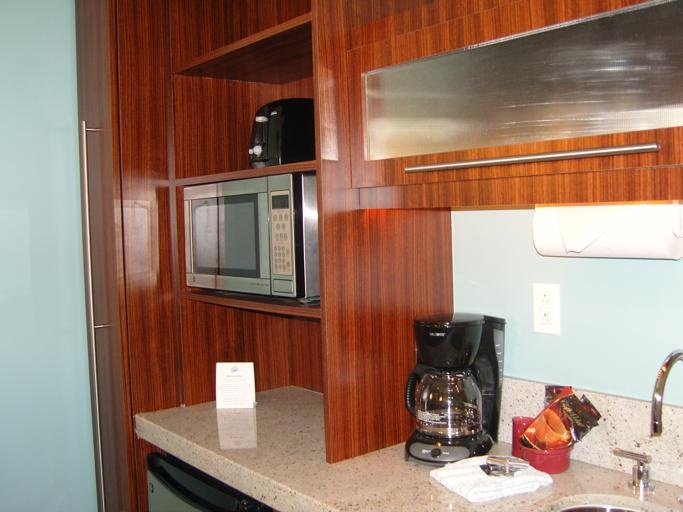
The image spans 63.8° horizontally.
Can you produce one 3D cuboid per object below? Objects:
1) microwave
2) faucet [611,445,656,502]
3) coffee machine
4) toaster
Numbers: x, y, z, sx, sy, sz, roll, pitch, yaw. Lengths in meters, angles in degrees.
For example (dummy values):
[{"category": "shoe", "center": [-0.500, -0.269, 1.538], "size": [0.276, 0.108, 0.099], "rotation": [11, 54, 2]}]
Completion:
[{"category": "microwave", "center": [-0.279, -0.071, 2.042], "size": [0.622, 0.408, 0.357], "rotation": [0, 3, 37]}, {"category": "faucet", "center": [0.757, 0.562, 1.426], "size": [0.083, 0.097, 0.091], "rotation": [1, 4, 38]}, {"category": "coffee machine", "center": [0.330, 0.393, 1.701], "size": [0.237, 0.485, 0.231], "rotation": [-2, 7, -32]}, {"category": "toaster", "center": [-0.220, -0.393, 2.067], "size": [0.215, 0.300, 0.308], "rotation": [-3, 7, -43]}]
